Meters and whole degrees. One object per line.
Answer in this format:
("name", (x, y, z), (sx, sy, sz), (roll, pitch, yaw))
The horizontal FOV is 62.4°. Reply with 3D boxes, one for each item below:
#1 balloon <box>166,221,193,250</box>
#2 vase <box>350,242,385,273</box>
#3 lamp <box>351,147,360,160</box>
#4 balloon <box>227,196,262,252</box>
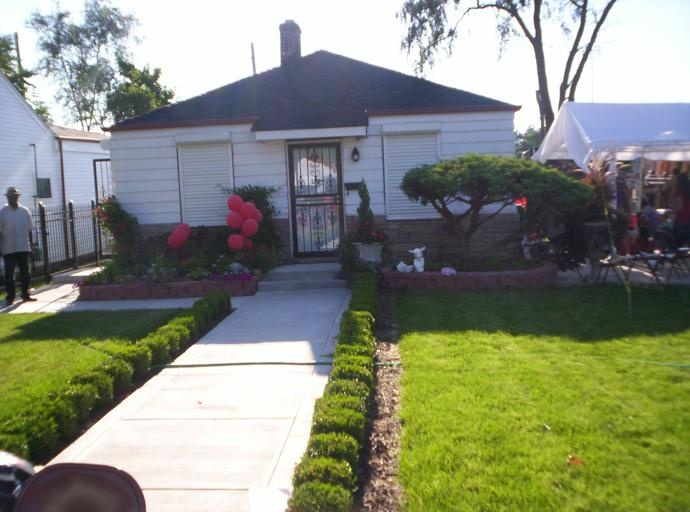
("balloon", (-3.611, -0.444, 12.347), (0.273, 0.435, 0.687), (-21, 11, -10))
("vase", (0.489, 0.057, 11.593), (0.548, 0.538, 0.522), (-1, -2, -1))
("lamp", (0.239, -2.352, 13.166), (0.212, 0.340, 0.138), (-3, 14, -2))
("balloon", (-2.171, -0.707, 12.227), (0.743, 1.221, 0.940), (-5, 14, -12))
